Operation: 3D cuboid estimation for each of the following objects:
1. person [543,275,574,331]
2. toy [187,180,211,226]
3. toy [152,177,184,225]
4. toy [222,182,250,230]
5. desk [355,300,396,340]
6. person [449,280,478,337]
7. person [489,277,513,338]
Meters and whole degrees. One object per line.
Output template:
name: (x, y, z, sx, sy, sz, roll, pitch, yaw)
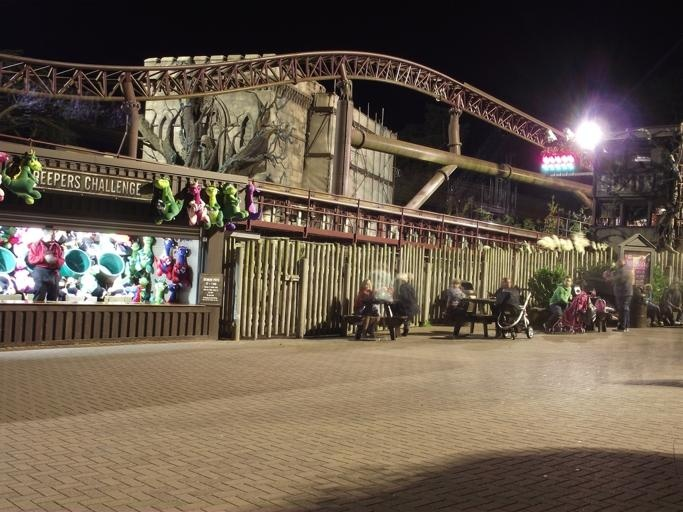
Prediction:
person: (6.681, 1.480, 19.148, 0.547, 1.720, 0.676, 1, 0, -39)
toy: (-3.639, -1.335, 15.898, 0.364, 1.161, 0.609, 1, 0, 24)
toy: (-4.310, -1.366, 15.402, 0.464, 1.093, 0.807, 1, 0, 20)
toy: (-2.889, -1.358, 16.789, 0.535, 1.208, 0.963, 1, 0, 2)
desk: (0.973, 1.735, 17.008, 1.203, 1.304, 0.980, -2, -4, 19)
person: (3.522, 1.466, 18.520, 0.891, 1.740, 0.738, -8, 13, -32)
person: (4.499, 1.440, 17.351, 0.568, 1.653, 0.755, 1, 0, 12)
